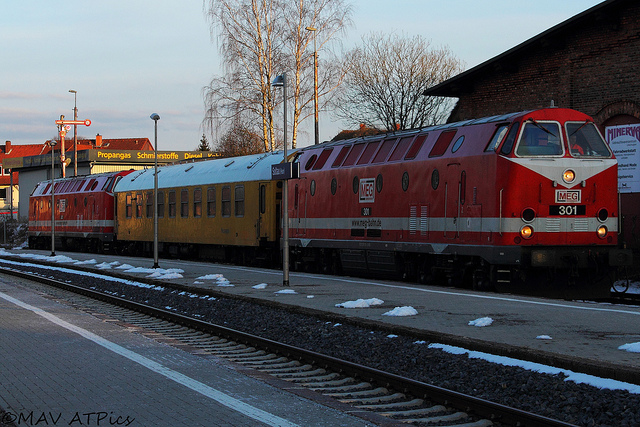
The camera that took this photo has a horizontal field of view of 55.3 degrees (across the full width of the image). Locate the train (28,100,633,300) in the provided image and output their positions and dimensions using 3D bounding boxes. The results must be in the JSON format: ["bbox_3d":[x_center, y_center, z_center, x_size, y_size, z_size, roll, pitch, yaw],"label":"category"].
[{"bbox_3d":[-6.670,0.012,34.826,6.858,6.288,47.111,-8,4,-40],"label":"train"}]

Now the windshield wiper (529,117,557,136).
[{"bbox_3d":[6.265,-2.448,17.128,0.796,0.083,0.070,39,-18,2],"label":"windshield wiper"}]
